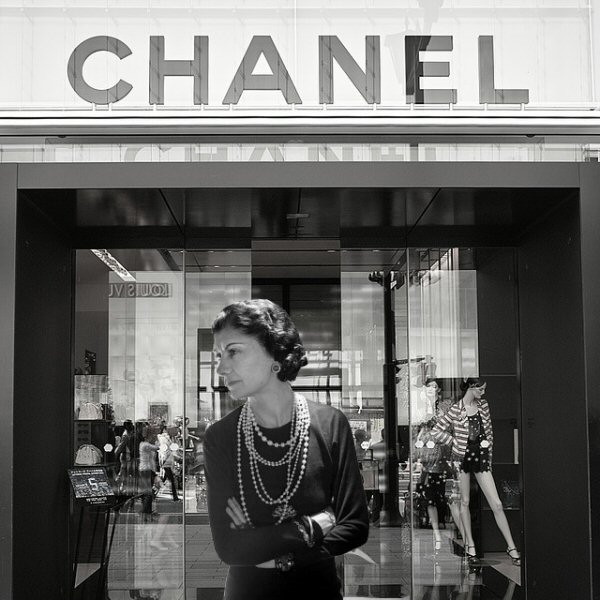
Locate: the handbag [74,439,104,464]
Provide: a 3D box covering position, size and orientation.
[{"bbox_3d":[-1.702,1.243,6.796,0.156,0.228,0.150,1,-11,-6],"label":"handbag"}]

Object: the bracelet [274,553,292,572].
[{"bbox_3d":[-0.103,1.672,5.362,0.123,0.098,0.022,0,-3,-3],"label":"bracelet"}]

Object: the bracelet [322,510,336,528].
[{"bbox_3d":[0.188,1.392,5.373,0.084,0.103,0.086,4,-7,7],"label":"bracelet"}]

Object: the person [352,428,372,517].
[{"bbox_3d":[0.528,1.417,7.212,0.136,0.865,0.211,0,-7,1],"label":"person"}]

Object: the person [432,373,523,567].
[{"bbox_3d":[1.436,1.373,6.916,0.633,1.748,0.328,-1,16,18],"label":"person"}]

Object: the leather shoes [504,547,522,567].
[{"bbox_3d":[1.683,2.015,6.617,0.050,0.063,0.172,0,8,1],"label":"leather shoes"}]

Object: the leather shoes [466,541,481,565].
[{"bbox_3d":[1.369,2.022,6.680,0.052,0.098,0.212,1,-24,-1],"label":"leather shoes"}]
